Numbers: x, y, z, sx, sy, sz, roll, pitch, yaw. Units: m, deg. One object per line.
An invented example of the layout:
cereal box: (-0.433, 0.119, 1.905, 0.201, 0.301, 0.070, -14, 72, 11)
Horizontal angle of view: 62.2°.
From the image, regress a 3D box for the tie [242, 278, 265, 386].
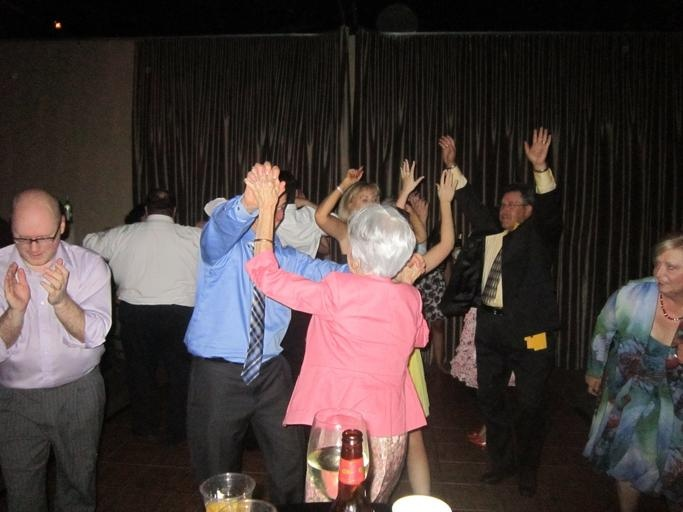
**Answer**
tie: (-0.462, 0.412, 2.980, 0.114, 0.516, 0.082, 2, 3, -9)

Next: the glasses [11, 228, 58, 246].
glasses: (-1.613, -0.095, 2.983, 0.205, 0.083, 0.080, 2, 3, -25)

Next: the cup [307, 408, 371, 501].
cup: (-0.055, 0.859, 2.444, 0.277, 0.472, 0.358, 1, -19, -1)

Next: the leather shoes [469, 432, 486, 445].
leather shoes: (1.081, 1.433, 4.486, 0.067, 0.061, 0.182, 12, -6, 3)
